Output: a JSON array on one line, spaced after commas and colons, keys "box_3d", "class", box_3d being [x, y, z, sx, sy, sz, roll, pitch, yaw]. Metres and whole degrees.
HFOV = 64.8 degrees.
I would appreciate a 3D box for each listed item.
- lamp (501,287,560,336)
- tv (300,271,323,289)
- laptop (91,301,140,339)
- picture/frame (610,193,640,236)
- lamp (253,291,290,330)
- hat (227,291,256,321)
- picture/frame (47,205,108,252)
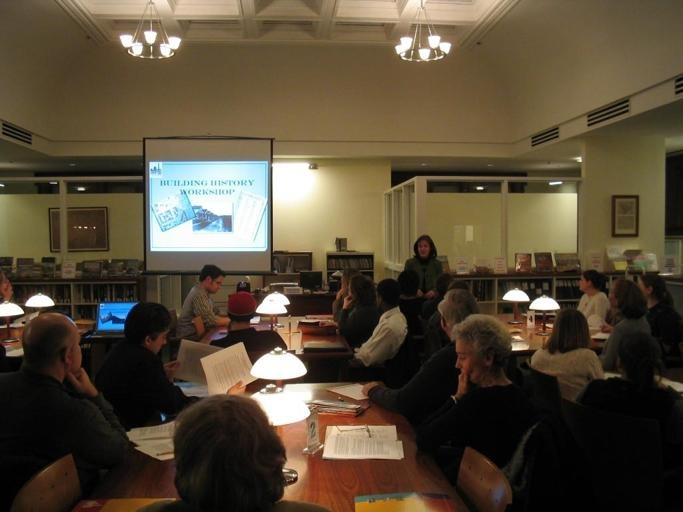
[{"box_3d": [2.135, 0.608, 6.063, 0.212, 0.319, 0.503, 0, 0, -28], "class": "lamp"}, {"box_3d": [-0.516, 0.399, 8.992, 0.439, 0.462, 0.240, 0, -2, -9], "class": "tv"}, {"box_3d": [-2.389, 0.679, 5.887, 0.458, 0.360, 0.261, -3, -6, 23], "class": "laptop"}, {"box_3d": [4.388, -0.667, 8.336, 0.584, 0.939, 0.067, 0, 1, -2], "class": "picture/frame"}, {"box_3d": [-0.657, 0.573, 5.223, 0.372, 0.399, 0.385, 1, 3, 35], "class": "lamp"}, {"box_3d": [-0.862, 0.422, 4.605, 0.171, 0.134, 0.248, 1, 23, -9], "class": "hat"}, {"box_3d": [-3.767, -0.388, 7.767, 0.621, 0.517, 0.052, 0, 3, 4], "class": "picture/frame"}]
